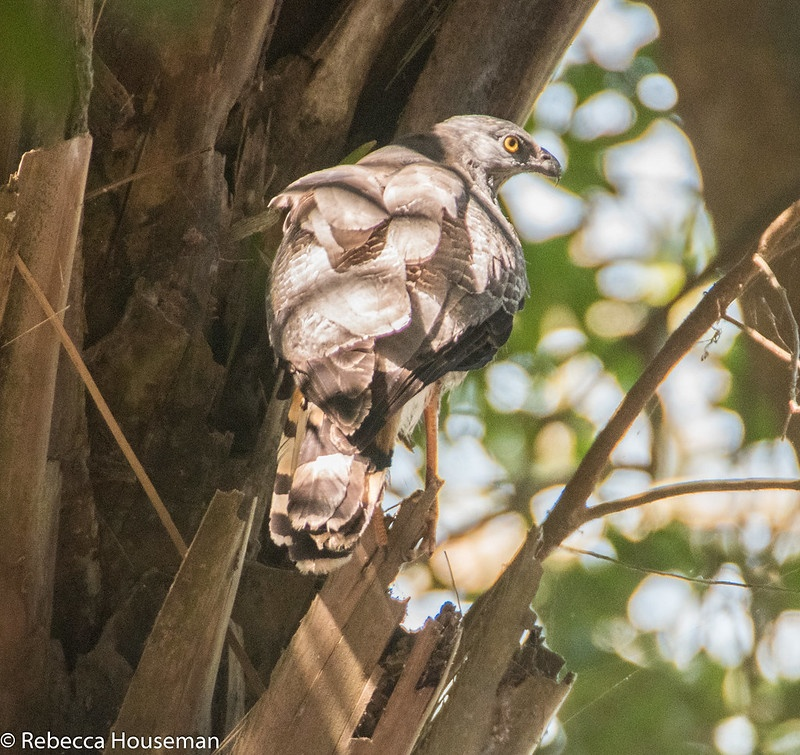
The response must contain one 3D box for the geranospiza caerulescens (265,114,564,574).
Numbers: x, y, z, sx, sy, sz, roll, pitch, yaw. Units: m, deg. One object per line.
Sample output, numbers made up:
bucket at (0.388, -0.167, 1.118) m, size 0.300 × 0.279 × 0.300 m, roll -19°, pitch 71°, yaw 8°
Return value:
geranospiza caerulescens at (-0.077, -0.212, 7.146) m, size 0.928 × 1.635 × 0.650 m, roll 23°, pitch 2°, yaw -11°
